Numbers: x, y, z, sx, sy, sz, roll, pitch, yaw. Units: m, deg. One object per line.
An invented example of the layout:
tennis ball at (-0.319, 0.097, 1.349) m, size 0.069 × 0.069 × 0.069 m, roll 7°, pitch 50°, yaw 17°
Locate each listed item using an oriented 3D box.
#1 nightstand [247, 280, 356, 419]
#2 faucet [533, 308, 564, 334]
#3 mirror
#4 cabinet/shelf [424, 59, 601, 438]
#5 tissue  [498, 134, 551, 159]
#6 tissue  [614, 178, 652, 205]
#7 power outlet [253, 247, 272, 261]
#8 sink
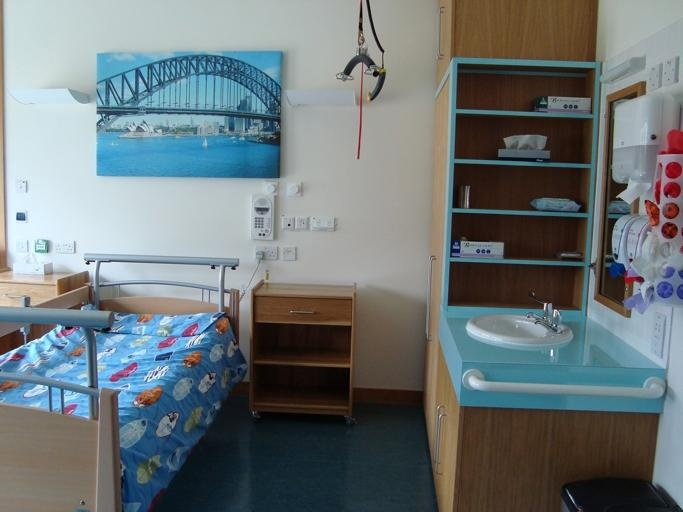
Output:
nightstand at (-0.268, 0.645, 3.669) m, size 0.681 × 0.835 × 0.545 m, roll 2°, pitch 1°, yaw 4°
faucet at (1.025, 0.304, 2.688) m, size 0.134 × 0.102 × 0.150 m, roll -9°, pitch 11°, yaw -41°
mirror at (1.348, -0.275, 2.665) m, size 0.168 × 1.078 × 0.440 m, roll 2°, pitch 9°, yaw 24°
cabinet/shelf at (1.010, -0.016, 3.125) m, size 0.788 × 2.046 × 0.506 m, roll 4°, pitch 12°, yaw 21°
tissue  at (1.008, -0.591, 3.010) m, size 0.163 × 0.111 × 0.226 m, roll 0°, pitch 2°, yaw 9°
tissue  at (1.271, -0.274, 2.359) m, size 0.048 × 0.099 × 0.091 m, roll 4°, pitch 23°, yaw -29°
power outlet at (-0.537, -0.018, 3.798) m, size 0.135 × 0.099 × 0.028 m, roll -2°, pitch 8°, yaw -7°
sink at (0.826, 0.412, 2.708) m, size 0.448 × 0.136 × 0.456 m, roll 5°, pitch 10°, yaw 6°
